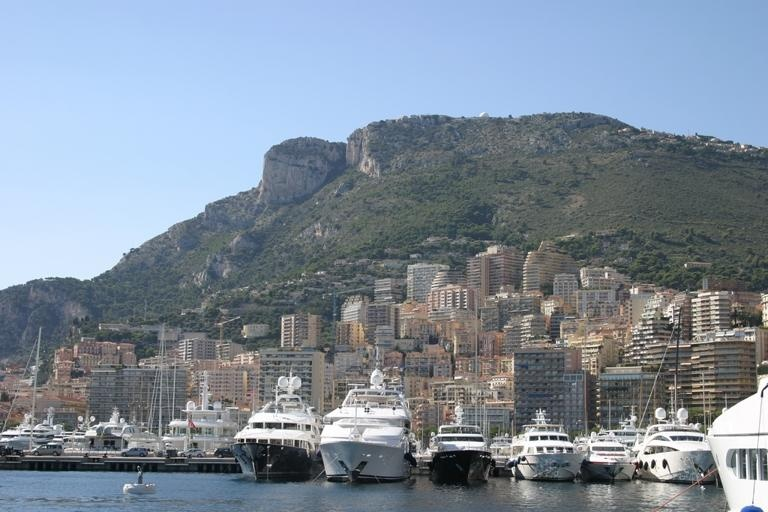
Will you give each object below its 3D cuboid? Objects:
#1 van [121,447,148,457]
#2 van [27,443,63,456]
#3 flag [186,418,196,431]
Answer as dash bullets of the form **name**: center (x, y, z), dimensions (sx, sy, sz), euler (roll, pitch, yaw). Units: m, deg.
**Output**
- **van**: center (-59.899, 46.737, 453.578), dimensions (4.615, 1.491, 2.502), euler (4, -5, 2)
- **van**: center (-80.668, 45.367, 449.879), dimensions (7.632, 3.641, 4.843), euler (5, -14, -24)
- **flag**: center (-46.667, 40.345, 457.730), dimensions (0.313, 3.750, 2.862), euler (-6, -9, 39)
